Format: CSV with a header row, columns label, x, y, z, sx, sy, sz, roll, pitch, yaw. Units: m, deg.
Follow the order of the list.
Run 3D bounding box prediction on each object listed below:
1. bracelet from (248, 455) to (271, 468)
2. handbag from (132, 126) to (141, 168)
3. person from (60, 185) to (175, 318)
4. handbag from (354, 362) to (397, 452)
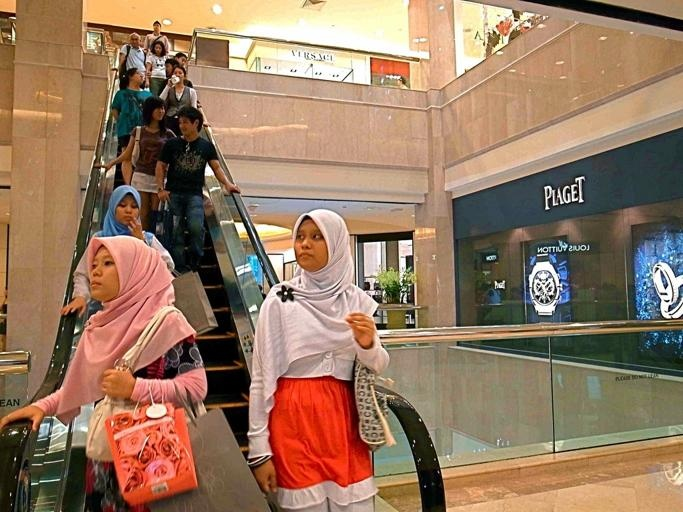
label,x,y,z,sx,sy,sz,roll,pitch,yaw
bracelet,-0.352,0.864,2.076,0.061,0.015,0.063,-4,-4,-15
handbag,-2.382,-1.223,5.668,0.100,0.415,0.296,2,-8,-28
person,-1.796,0.019,4.072,0.751,1.155,0.654,-1,-1,-26
handbag,0.147,0.691,2.302,0.179,0.457,0.137,-12,-12,40
